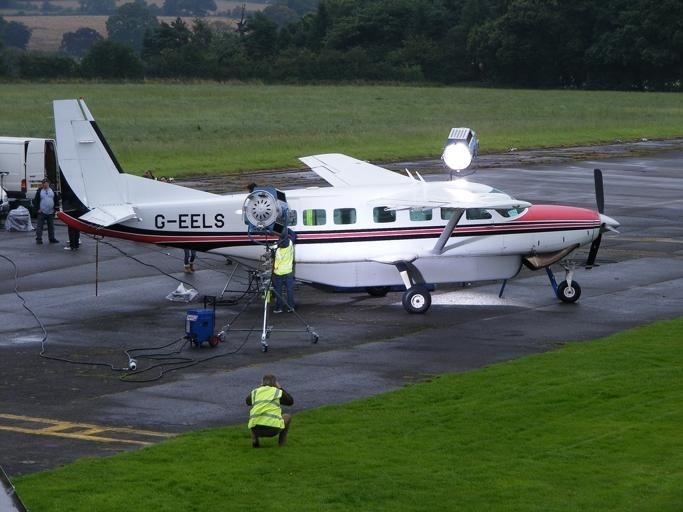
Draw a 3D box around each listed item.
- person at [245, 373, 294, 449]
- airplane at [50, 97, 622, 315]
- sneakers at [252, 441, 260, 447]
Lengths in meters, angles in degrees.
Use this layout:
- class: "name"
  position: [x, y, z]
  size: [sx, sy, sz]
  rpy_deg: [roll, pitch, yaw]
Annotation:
- class: "person"
  position: [-2.122, 4.576, 39.759]
  size: [1.320, 2.152, 0.577]
  rpy_deg: [1, 20, -2]
- class: "airplane"
  position: [-0.241, -1.310, 50.554]
  size: [15.557, 3.740, 12.102]
  rpy_deg: [-1, 10, -8]
- class: "sneakers"
  position: [-2.510, 5.528, 39.857]
  size: [0.273, 0.178, 0.234]
  rpy_deg: [2, 2, 17]
